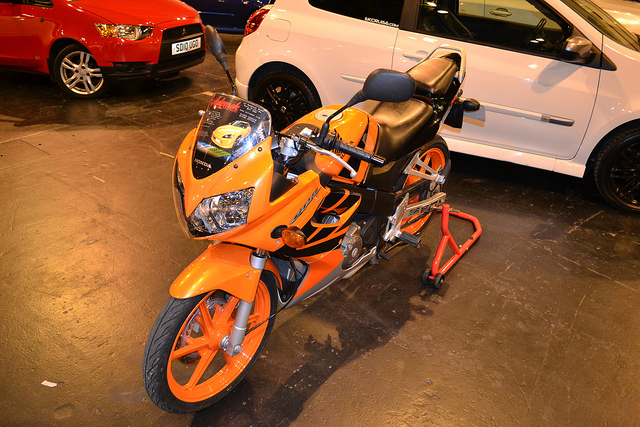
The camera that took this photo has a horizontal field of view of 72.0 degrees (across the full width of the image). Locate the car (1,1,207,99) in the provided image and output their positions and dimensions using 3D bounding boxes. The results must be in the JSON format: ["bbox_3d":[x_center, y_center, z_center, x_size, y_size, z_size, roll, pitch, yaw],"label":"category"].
[{"bbox_3d":[-3.074,-2.302,6.121,2.585,1.254,1.684,6,24,20],"label":"car"}]
